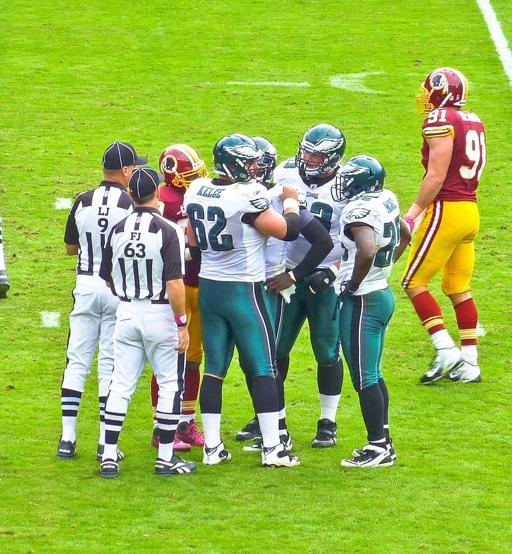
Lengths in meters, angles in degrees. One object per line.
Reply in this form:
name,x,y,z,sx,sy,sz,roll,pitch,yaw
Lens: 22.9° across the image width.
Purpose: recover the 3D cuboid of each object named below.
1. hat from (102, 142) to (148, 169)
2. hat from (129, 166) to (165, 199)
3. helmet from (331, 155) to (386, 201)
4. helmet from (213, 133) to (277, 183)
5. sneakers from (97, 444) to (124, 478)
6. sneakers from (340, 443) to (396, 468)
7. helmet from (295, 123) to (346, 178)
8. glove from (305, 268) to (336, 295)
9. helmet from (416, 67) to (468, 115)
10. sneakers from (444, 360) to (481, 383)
hat,-1.050,-0.950,10.082,0.333,0.182,0.198,-19,32,-27
hat,-0.833,-0.690,9.565,0.171,0.146,0.259,-3,51,11
helmet,0.791,-0.758,9.907,0.404,0.316,0.289,-5,19,18
helmet,-0.077,-0.922,9.776,0.467,0.348,0.349,3,13,3
sneakers,-1.124,1.425,9.623,0.112,0.131,0.300,2,9,-4
sneakers,0.891,1.407,9.882,0.471,0.198,0.160,1,-3,0
helmet,0.507,-1.033,10.230,0.446,0.408,0.337,-26,43,-32
glove,0.521,0.045,10.169,0.173,0.125,0.229,-6,-8,-30
helmet,1.733,-1.725,11.851,0.483,0.405,0.368,3,12,17
sneakers,1.917,0.892,11.706,0.304,0.191,0.153,7,-1,-1
